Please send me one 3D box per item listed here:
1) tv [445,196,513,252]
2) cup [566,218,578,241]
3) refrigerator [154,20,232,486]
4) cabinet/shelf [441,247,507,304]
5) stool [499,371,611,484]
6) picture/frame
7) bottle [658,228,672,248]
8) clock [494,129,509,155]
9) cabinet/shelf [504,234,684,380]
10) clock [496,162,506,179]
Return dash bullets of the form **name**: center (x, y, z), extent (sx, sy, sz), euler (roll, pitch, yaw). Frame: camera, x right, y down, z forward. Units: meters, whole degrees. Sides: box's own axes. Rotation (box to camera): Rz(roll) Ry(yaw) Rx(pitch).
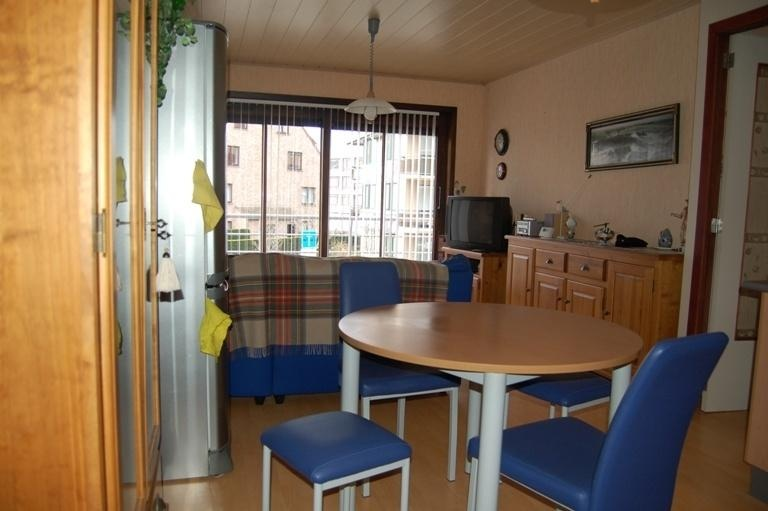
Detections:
- **tv**: center (1.136, -0.373, 6.748), extent (0.461, 0.651, 0.837), euler (-5, 9, -39)
- **cup**: center (1.721, -0.246, 5.424), extent (0.111, 0.194, 0.054), euler (-11, 14, -37)
- **refrigerator**: center (-0.948, 0.125, 3.043), extent (0.456, 1.886, 0.397), euler (-3, -9, 4)
- **cabinet/shelf**: center (1.050, 0.318, 6.611), extent (0.367, 0.679, 0.692), euler (1, 1, -19)
- **stool**: center (0.845, 0.803, 2.955), extent (0.331, 0.461, 0.416), euler (-4, 8, -38)
- **picture/frame**: center (2.094, -0.993, 5.030), extent (0.085, 0.463, 1.054), euler (-1, 5, -18)
- **bottle**: center (2.152, -0.138, 4.505), extent (0.088, 0.147, 0.218), euler (3, 5, 24)
- **clock**: center (1.390, -1.351, 6.986), extent (0.060, 0.309, 0.333), euler (0, 5, -13)
- **cabinet/shelf**: center (1.667, 0.332, 4.990), extent (0.367, 0.867, 1.593), euler (-4, 9, -31)
- **clock**: center (1.387, -1.000, 6.971), extent (0.041, 0.165, 0.155), euler (0, 18, -29)
